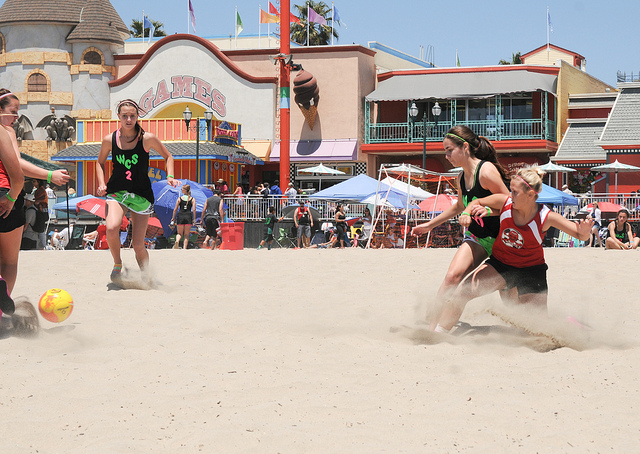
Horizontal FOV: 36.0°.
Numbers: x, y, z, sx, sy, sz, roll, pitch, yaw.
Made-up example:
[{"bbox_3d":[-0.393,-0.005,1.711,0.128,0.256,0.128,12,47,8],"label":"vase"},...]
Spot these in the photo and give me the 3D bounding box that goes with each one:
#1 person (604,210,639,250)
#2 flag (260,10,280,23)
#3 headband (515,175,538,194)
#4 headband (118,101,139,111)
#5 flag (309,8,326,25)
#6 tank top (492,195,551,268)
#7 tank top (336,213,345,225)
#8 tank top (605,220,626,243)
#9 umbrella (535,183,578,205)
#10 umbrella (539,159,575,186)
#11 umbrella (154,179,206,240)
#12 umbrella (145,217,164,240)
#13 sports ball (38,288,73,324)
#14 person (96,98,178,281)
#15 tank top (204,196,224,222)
[{"bbox_3d":[6.528,0.159,21.010,0.702,0.965,0.940,1,-12,3],"label":"person"},{"bbox_3d":[-2.095,-9.083,42.672,0.778,0.608,0.791,13,11,26],"label":"flag"},{"bbox_3d":[2.502,-0.508,11.930,0.028,0.268,0.011,-39,3,8],"label":"headband"},{"bbox_3d":[-2.718,-1.720,14.012,0.296,0.154,0.211,-4,15,-19],"label":"headband"},{"bbox_3d":[-0.124,-9.208,43.044,0.653,0.629,1.380,1,15,-1],"label":"flag"},{"bbox_3d":[2.450,0.063,12.131,0.728,0.951,0.533,7,9,33],"label":"tank top"},{"bbox_3d":[0.589,-0.190,26.542,0.254,0.333,0.187,0,-4,-1],"label":"tank top"},{"bbox_3d":[6.432,0.118,21.359,0.448,0.643,0.338,3,4,21],"label":"tank top"},{"bbox_3d":[6.355,-0.853,26.270,1.152,0.597,1.178,3,5,25],"label":"umbrella"},{"bbox_3d":[8.477,-1.936,34.991,1.811,1.005,1.897,-1,4,15],"label":"umbrella"},{"bbox_3d":[-3.535,-0.366,24.592,1.114,1.040,1.129,-19,28,-40],"label":"umbrella"},{"bbox_3d":[-4.130,0.064,24.591,0.478,0.355,0.491,4,11,-5],"label":"umbrella"},{"bbox_3d":[-3.386,1.046,12.662,0.415,0.427,0.248,-4,15,-17],"label":"sports ball"},{"bbox_3d":[-2.667,-0.528,14.316,1.091,2.626,0.928,-3,15,-15],"label":"person"},{"bbox_3d":[-2.482,-0.430,24.146,0.531,0.763,0.469,2,-8,2],"label":"tank top"}]
